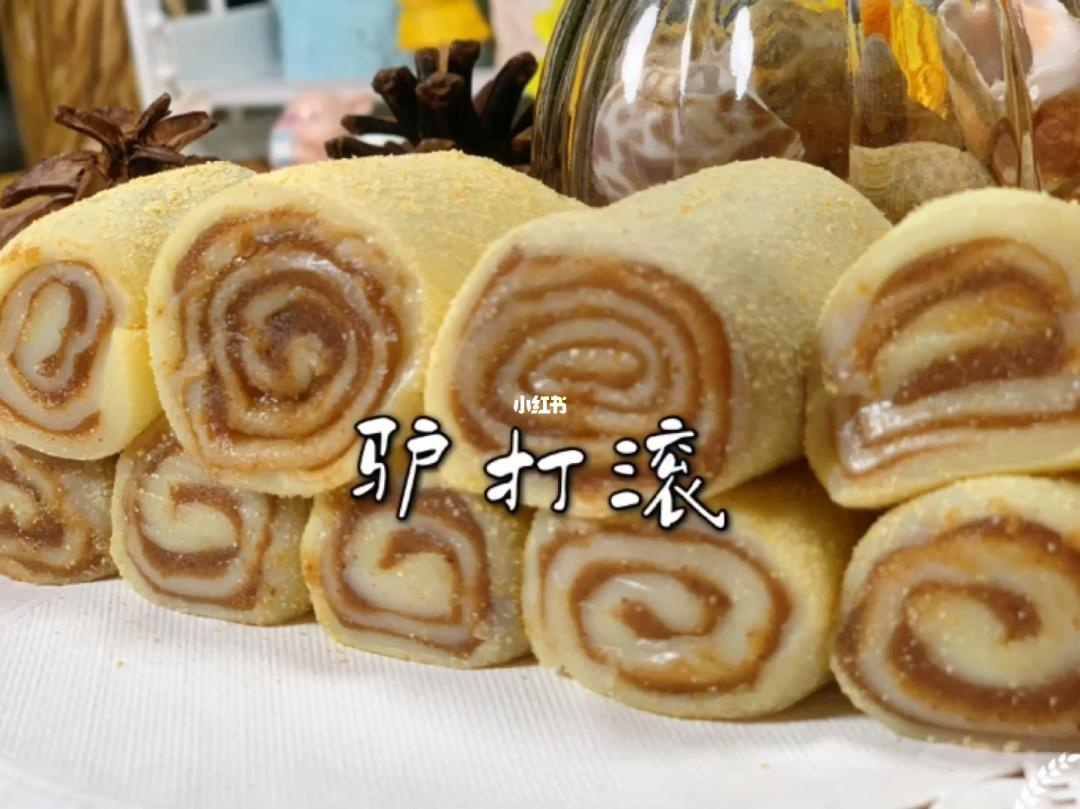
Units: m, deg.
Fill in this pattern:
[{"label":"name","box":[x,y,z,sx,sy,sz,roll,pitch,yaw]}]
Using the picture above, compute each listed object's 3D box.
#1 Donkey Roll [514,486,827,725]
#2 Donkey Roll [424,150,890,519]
[{"label":"Donkey Roll","box":[0.088,0.131,0.908,0.199,0.136,0.093,2,33,0]},{"label":"Donkey Roll","box":[0.076,-0.043,0.959,0.238,0.191,0.296,-3,7,32]}]
